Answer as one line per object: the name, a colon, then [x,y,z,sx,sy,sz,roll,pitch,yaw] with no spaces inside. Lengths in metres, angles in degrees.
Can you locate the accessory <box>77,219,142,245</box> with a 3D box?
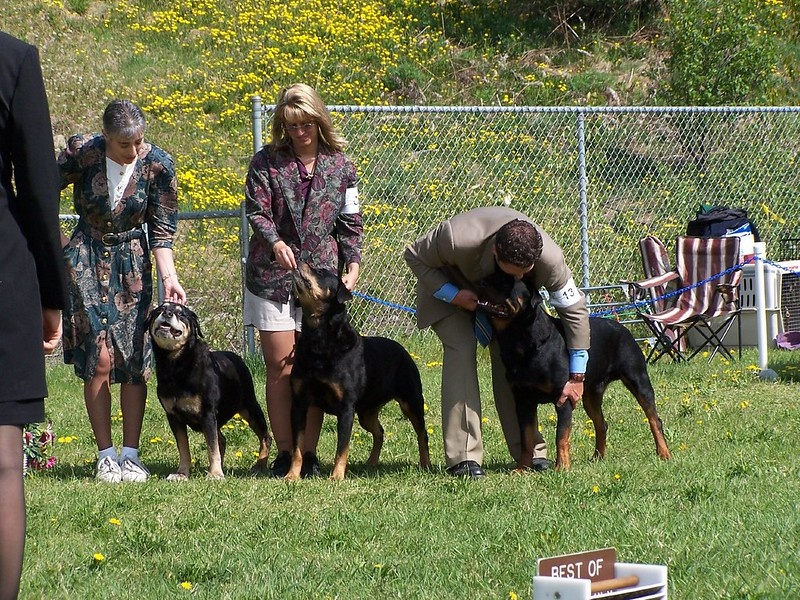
accessory: [-2.191,-0.509,8.963,0.252,0.119,0.283,8,-6,-12]

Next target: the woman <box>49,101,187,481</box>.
woman: [-2.247,0.006,8.998,1.182,2.937,1.024,-4,16,-27]

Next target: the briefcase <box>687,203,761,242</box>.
briefcase: [3.738,-0.951,14.080,0.723,0.391,0.549,-3,1,18]

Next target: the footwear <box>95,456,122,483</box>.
footwear: [-2.202,1.284,9.004,0.130,0.175,0.234,4,-12,-19]

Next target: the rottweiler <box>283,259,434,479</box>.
rottweiler: [-0.411,0.533,9.240,1.156,1.350,0.520,-4,2,-36]

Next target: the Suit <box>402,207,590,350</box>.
Suit: [0.833,-0.129,9.313,1.483,1.153,1.059,10,12,19]

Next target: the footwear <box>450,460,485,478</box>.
footwear: [0.492,1.284,9.014,0.277,0.101,0.269,-3,1,1]

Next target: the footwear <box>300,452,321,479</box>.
footwear: [-0.707,1.283,9.190,0.127,0.180,0.377,1,-8,-3]
